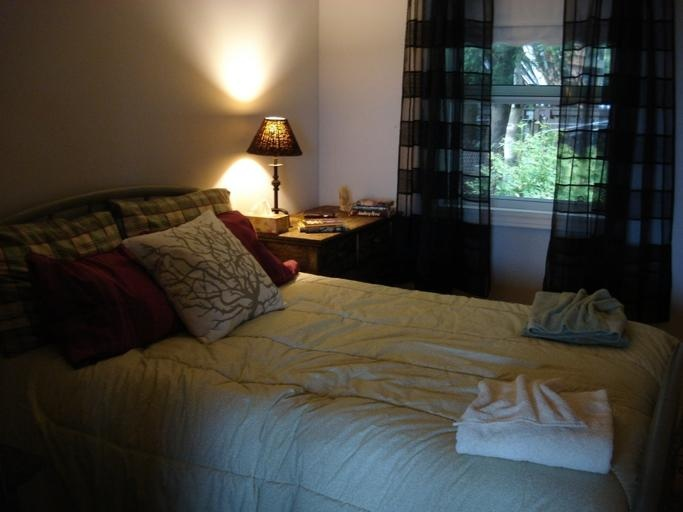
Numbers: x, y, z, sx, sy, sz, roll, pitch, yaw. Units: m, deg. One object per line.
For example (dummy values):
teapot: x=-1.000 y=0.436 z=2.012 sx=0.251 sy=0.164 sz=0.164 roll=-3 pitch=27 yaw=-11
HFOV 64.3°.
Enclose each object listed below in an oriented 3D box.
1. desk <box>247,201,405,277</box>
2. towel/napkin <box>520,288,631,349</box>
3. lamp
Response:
desk: x=0.025 y=-0.074 z=3.677 sx=0.341 sy=0.363 sz=0.775 roll=23 pitch=34 yaw=35
towel/napkin: x=0.997 y=0.270 z=2.325 sx=0.299 sy=0.092 sz=0.310 roll=0 pitch=20 yaw=29
lamp: x=-0.425 y=-0.510 z=3.494 sx=0.365 sy=0.692 sz=0.376 roll=11 pitch=17 yaw=37
